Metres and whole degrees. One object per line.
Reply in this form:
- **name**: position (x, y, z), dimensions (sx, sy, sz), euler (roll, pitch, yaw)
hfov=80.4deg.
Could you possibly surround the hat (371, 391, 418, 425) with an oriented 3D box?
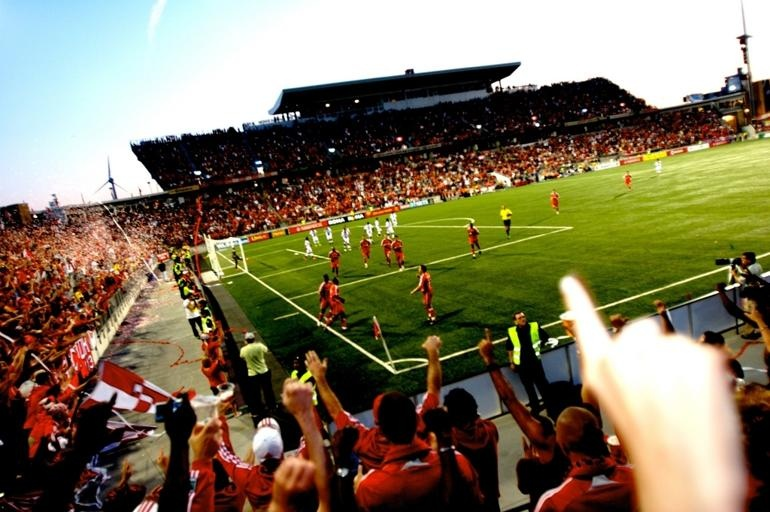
- **hat**: position (0.063, 1.483, 4.638), dimensions (0.400, 0.273, 0.528), euler (-16, 8, -10)
